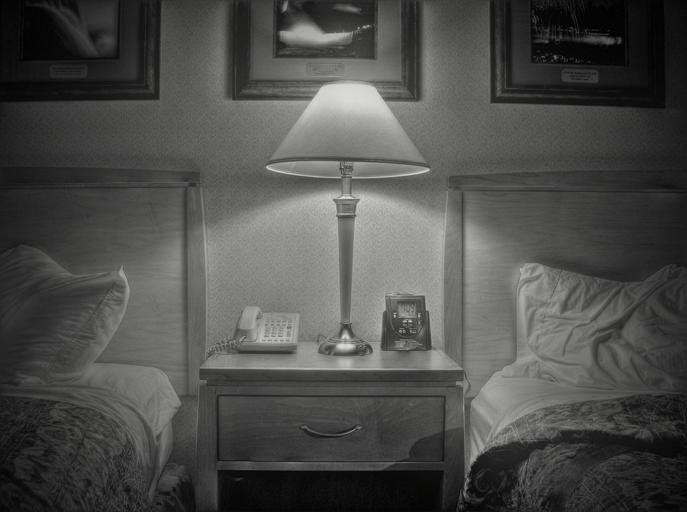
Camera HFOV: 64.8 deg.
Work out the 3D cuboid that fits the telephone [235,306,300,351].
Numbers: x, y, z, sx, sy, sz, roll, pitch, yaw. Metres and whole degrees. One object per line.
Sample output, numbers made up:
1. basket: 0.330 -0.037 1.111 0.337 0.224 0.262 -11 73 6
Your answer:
1. telephone: -0.292 0.282 2.129 0.238 0.108 0.236 3 16 -5
